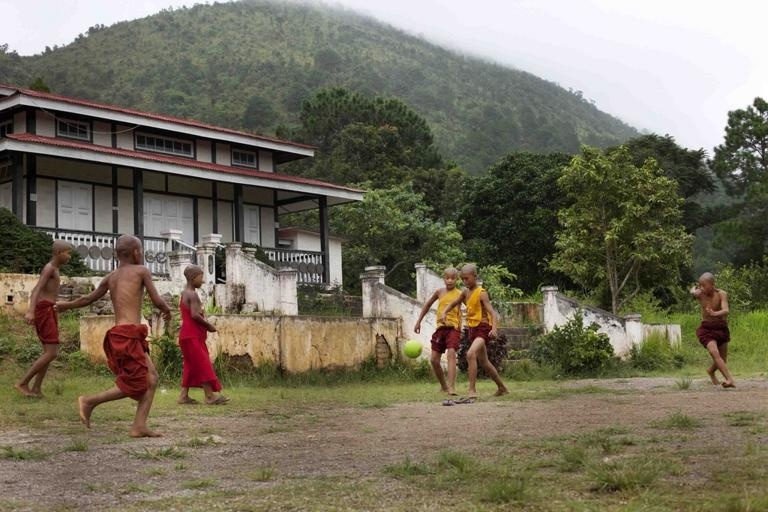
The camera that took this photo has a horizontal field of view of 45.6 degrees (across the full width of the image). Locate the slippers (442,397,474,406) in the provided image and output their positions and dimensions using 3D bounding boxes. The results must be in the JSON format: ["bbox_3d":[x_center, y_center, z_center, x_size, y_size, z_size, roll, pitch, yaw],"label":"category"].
[{"bbox_3d":[1.386,2.611,16.399,0.570,0.043,0.541,0,4,7],"label":"slippers"}]

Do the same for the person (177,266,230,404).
[{"bbox_3d":[-3.272,1.413,16.220,0.753,2.457,0.465,0,4,0],"label":"person"}]

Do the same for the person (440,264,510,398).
[{"bbox_3d":[1.810,1.393,16.966,0.930,2.469,1.043,-1,4,-11],"label":"person"}]

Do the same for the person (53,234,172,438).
[{"bbox_3d":[-3.939,1.240,13.982,1.164,3.051,0.540,0,4,10],"label":"person"}]
